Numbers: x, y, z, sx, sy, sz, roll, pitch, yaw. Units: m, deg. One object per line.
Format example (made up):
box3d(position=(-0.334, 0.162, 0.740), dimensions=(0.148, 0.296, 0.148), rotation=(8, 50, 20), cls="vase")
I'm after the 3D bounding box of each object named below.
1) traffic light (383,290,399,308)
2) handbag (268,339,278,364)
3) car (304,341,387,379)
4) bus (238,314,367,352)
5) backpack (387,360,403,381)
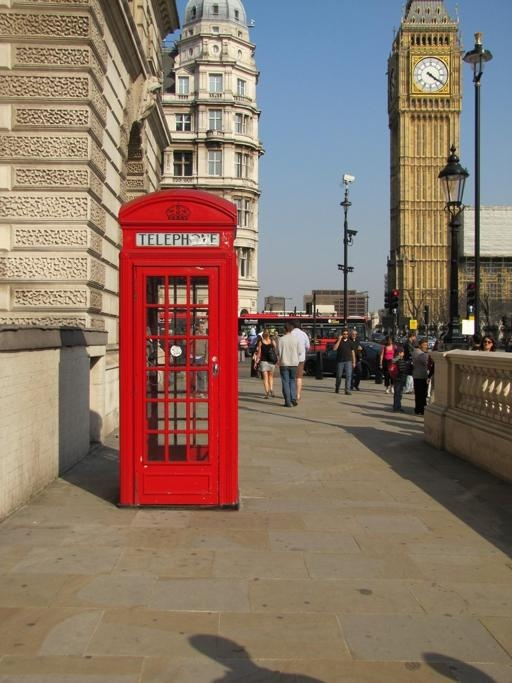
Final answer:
box3d(position=(5.228, -1.623, 29.174), dimensions=(0.418, 0.769, 1.359), rotation=(1, 0, 7), cls="traffic light")
box3d(position=(0.376, 0.259, 17.649), dimensions=(0.220, 0.633, 0.495), rotation=(-2, -9, 3), cls="handbag")
box3d(position=(3.371, 0.782, 27.915), dimensions=(2.623, 1.229, 1.435), rotation=(5, 4, 38), cls="car")
box3d(position=(3.071, -0.156, 53.443), dimensions=(10.662, 3.510, 3.239), rotation=(0, 6, -2), cls="bus")
box3d(position=(2.885, 0.594, 15.811), dimensions=(0.334, 0.659, 0.465), rotation=(1, 0, 8), cls="backpack")
